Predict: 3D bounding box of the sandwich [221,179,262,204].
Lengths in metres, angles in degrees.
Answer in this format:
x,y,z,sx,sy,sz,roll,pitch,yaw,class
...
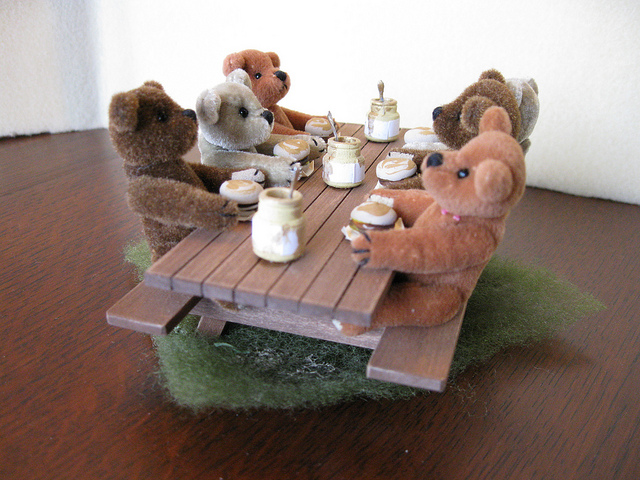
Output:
x,y,z,sx,sy,sz,roll,pitch,yaw,class
-0.318,-0.204,2.173,0.130,0.062,0.134,5,23,-10,sandwich

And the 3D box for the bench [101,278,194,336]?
x,y,z,sx,sy,sz,roll,pitch,yaw,class
-0.621,0.253,1.950,0.244,0.077,0.187,11,31,12,bench

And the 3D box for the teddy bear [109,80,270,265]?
x,y,z,sx,sy,sz,roll,pitch,yaw,class
-0.559,-0.257,2.190,0.548,0.682,0.591,0,29,-8,teddy bear

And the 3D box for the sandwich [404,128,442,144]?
x,y,z,sx,sy,sz,roll,pitch,yaw,class
0.552,-0.571,2.889,0.114,0.043,0.118,8,26,16,sandwich

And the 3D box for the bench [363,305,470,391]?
x,y,z,sx,sy,sz,roll,pitch,yaw,class
0.375,0.387,2.022,0.271,0.133,0.647,10,21,18,bench

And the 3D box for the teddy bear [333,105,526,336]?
x,y,z,sx,sy,sz,roll,pitch,yaw,class
0.410,-0.044,1.933,0.510,0.812,0.555,18,32,24,teddy bear

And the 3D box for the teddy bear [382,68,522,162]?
x,y,z,sx,sy,sz,roll,pitch,yaw,class
0.715,-0.601,2.747,0.664,0.364,0.687,0,29,39,teddy bear

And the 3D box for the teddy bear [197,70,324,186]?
x,y,z,sx,sy,sz,roll,pitch,yaw,class
-0.308,-0.545,2.584,0.572,0.467,0.462,13,37,17,teddy bear

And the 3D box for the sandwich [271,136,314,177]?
x,y,z,sx,sy,sz,roll,pitch,yaw,class
-0.121,-0.432,2.588,0.178,0.124,0.220,-6,36,-43,sandwich

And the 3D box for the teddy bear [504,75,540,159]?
x,y,z,sx,sy,sz,roll,pitch,yaw,class
1.085,-0.656,2.813,0.095,0.392,0.387,7,15,37,teddy bear
